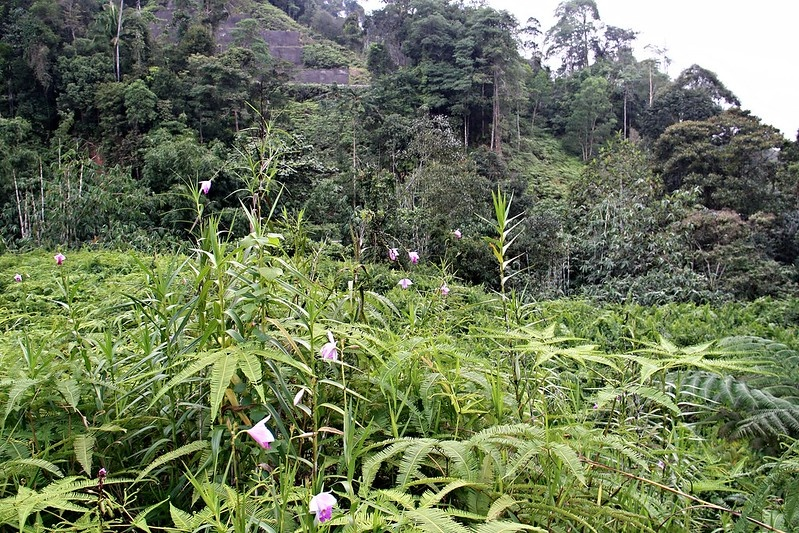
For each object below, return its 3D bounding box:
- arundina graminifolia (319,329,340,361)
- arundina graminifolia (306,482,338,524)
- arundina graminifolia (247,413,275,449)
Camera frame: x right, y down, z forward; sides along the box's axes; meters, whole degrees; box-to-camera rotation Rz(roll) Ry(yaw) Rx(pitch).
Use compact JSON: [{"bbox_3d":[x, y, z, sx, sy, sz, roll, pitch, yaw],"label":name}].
[{"bbox_3d":[-0.403,0.473,3.680,0.105,0.204,0.278,10,6,-3],"label":"arundina graminifolia"},{"bbox_3d":[-0.393,1.276,3.378,0.155,0.153,0.109,54,12,22],"label":"arundina graminifolia"},{"bbox_3d":[-0.752,0.916,3.459,0.173,0.160,0.087,10,10,33],"label":"arundina graminifolia"}]
